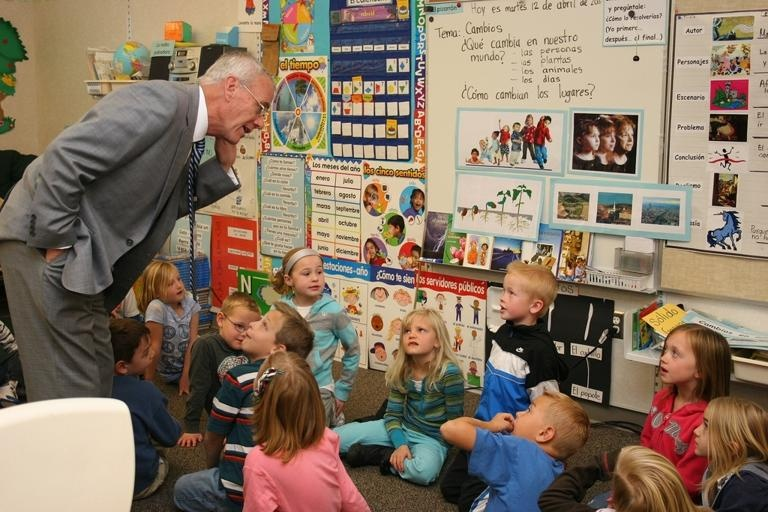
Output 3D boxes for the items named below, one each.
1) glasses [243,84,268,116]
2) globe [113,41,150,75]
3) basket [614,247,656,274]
[{"bbox_3d":[-0.524,-0.641,2.349,0.100,0.030,0.096,48,-1,-3],"label":"glasses"},{"bbox_3d":[-2.008,-1.624,4.577,0.236,0.277,0.237,-16,34,-28],"label":"globe"},{"bbox_3d":[1.331,0.025,3.076,0.212,0.143,0.119,7,11,39],"label":"basket"}]
